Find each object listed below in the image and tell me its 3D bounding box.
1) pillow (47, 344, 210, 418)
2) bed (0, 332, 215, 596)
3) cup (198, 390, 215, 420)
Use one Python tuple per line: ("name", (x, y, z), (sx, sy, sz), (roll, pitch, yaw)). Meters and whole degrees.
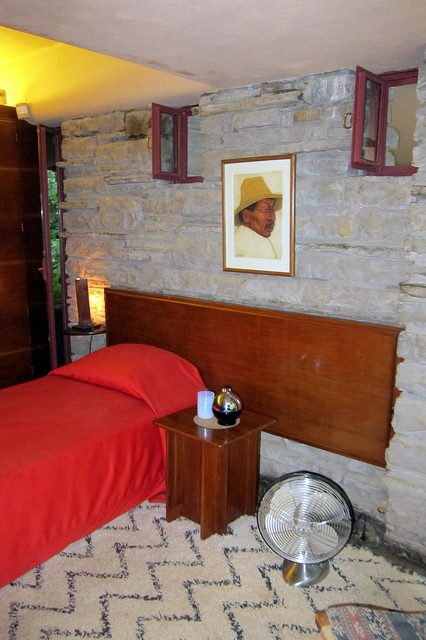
("pillow", (-0.355, 0.291, 2.695), (0.649, 0.172, 0.364), (12, 14, 36))
("bed", (-0.601, 0.579, 2.302), (0.825, 0.385, 1.045), (11, 16, 35))
("cup", (-0.035, 0.406, 2.281), (0.109, 0.123, 0.111), (3, 15, -1))
